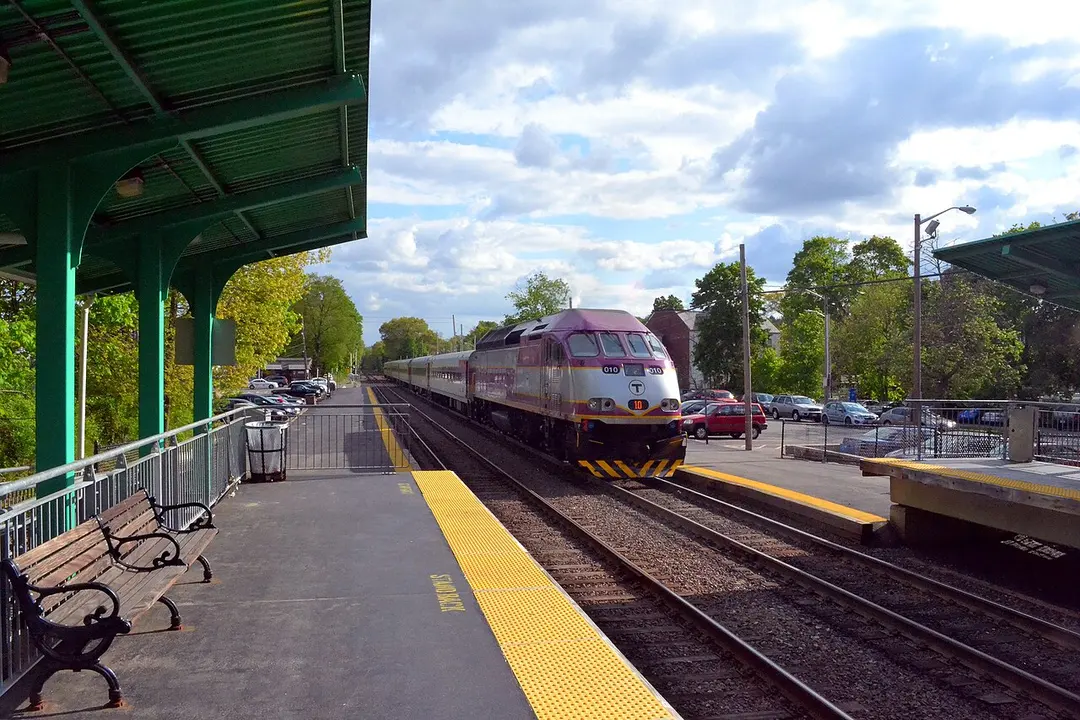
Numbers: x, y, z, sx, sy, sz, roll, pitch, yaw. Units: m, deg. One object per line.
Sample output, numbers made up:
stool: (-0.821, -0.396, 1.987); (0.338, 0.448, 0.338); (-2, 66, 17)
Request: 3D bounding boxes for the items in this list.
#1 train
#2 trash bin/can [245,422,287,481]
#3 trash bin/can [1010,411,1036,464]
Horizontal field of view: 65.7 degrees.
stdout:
train: (-0.913, 0.530, 28.303); (3.004, 3.595, 21.269); (0, 2, -20)
trash bin/can: (-4.851, 1.594, 14.753); (0.677, 1.042, 0.357); (4, 7, -20)
trash bin/can: (8.071, 1.234, 14.038); (0.456, 0.601, 0.306); (10, 8, 33)
